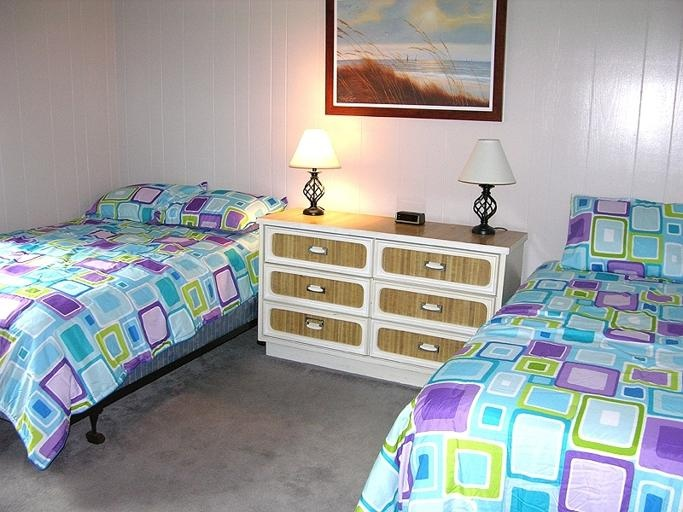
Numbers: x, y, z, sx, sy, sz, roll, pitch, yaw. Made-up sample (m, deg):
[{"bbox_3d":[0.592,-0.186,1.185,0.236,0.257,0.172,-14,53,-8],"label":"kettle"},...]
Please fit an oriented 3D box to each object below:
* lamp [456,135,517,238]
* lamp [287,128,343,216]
[{"bbox_3d":[0.850,-0.415,2.799,0.294,0.527,0.409,7,17,19],"label":"lamp"},{"bbox_3d":[-0.176,-0.571,3.182,0.320,0.546,0.447,1,16,1],"label":"lamp"}]
